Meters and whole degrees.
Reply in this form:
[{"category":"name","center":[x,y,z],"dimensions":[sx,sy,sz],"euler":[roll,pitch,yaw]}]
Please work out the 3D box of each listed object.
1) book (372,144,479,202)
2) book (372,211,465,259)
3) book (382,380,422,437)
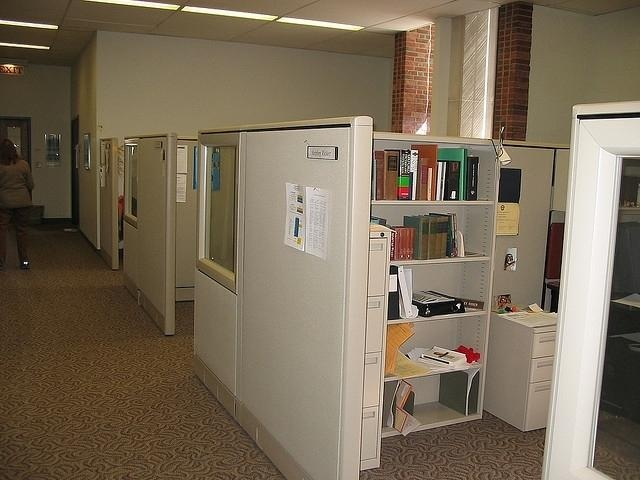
[{"category":"book","center":[0.776,-0.503,3.355],"dimensions":[0.939,0.399,0.263],"euler":[-5,12,-35]},{"category":"book","center":[0.791,-0.040,3.470],"dimensions":[0.667,0.325,0.218],"euler":[-3,11,-27]},{"category":"book","center":[0.612,1.249,3.422],"dimensions":[0.132,0.418,0.392],"euler":[11,3,19]}]
